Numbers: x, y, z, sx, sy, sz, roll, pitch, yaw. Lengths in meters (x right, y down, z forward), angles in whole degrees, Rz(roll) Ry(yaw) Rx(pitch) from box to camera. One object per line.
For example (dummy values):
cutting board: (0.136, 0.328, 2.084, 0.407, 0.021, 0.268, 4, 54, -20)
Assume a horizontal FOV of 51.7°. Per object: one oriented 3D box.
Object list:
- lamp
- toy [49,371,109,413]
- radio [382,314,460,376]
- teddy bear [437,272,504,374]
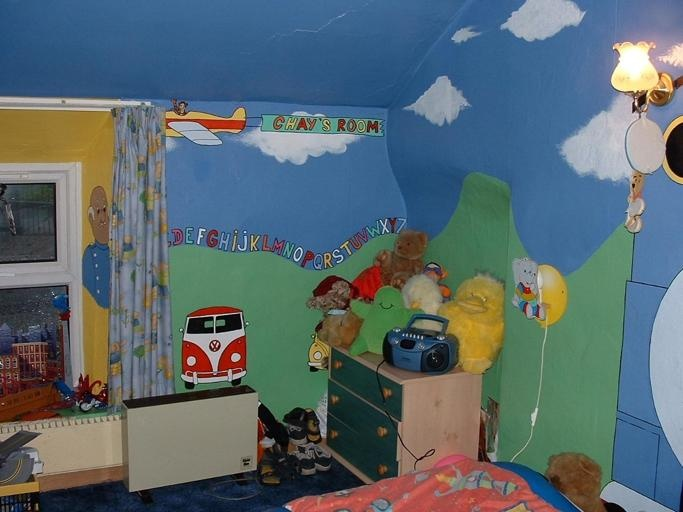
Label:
lamp: (1.467, -0.711, 3.396, 0.302, 0.676, 0.234, 1, 0, 28)
toy: (-1.711, 0.937, 4.766, 0.427, 0.292, 0.176, 3, -7, -7)
radio: (0.478, 0.548, 4.389, 0.476, 0.358, 0.269, 6, 3, 40)
teddy bear: (0.796, 0.409, 4.344, 0.394, 0.577, 0.234, 1, 0, 8)
